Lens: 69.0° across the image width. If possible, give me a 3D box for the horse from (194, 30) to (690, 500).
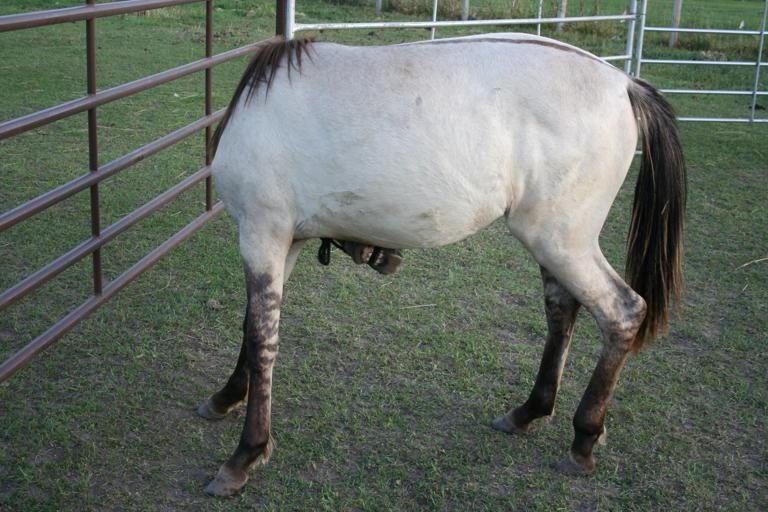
[{"bbox_3d":[0.079,0.056,3.373,3.092,2.620,0.897,3,16,9],"label":"horse"}]
